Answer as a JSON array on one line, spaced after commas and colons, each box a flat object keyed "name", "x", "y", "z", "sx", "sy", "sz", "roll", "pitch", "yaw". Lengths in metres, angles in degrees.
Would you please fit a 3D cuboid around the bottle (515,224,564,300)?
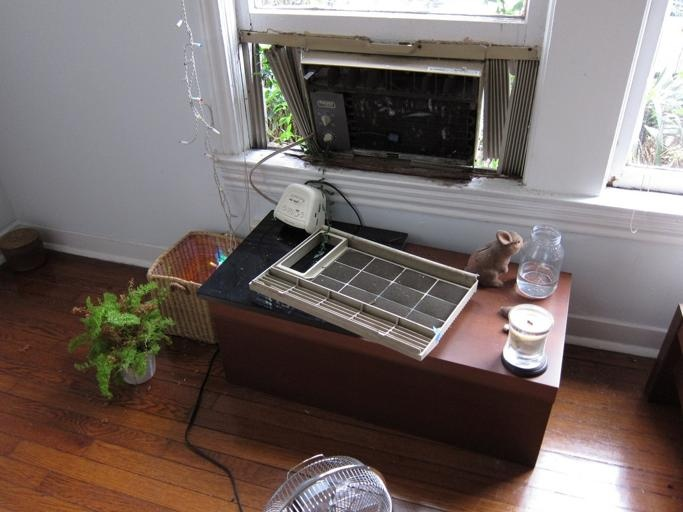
[{"name": "bottle", "x": 0.761, "y": 0.032, "z": 1.860, "sx": 0.165, "sy": 0.266, "sz": 0.162, "roll": -4, "pitch": 35, "yaw": 3}]

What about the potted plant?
[{"name": "potted plant", "x": -0.908, "y": 0.410, "z": 2.097, "sx": 0.371, "sy": 0.254, "sz": 0.367, "roll": -17, "pitch": -3, "yaw": 36}]
